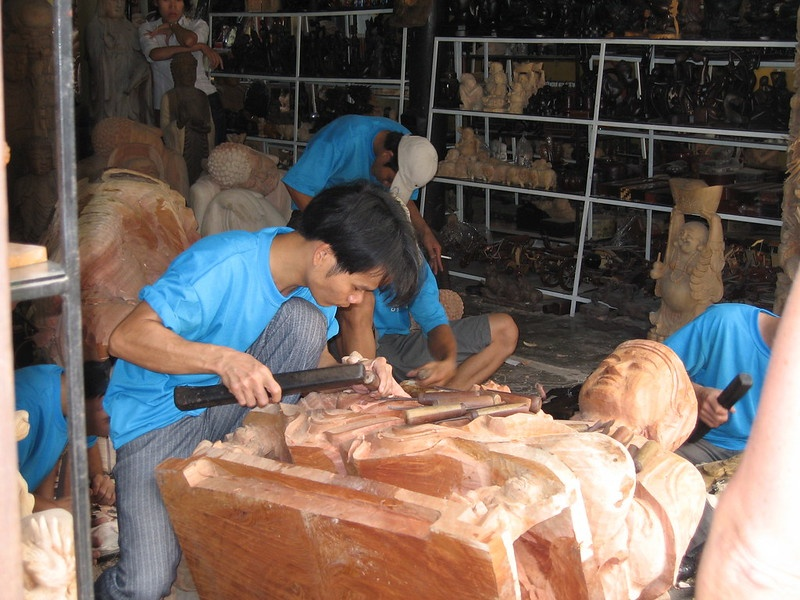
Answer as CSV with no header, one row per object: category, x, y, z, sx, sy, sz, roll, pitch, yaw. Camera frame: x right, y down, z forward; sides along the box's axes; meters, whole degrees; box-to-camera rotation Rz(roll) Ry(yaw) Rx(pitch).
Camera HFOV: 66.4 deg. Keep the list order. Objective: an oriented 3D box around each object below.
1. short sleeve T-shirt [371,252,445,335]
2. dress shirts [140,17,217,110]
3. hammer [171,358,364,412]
short sleeve T-shirt,0.001,-0.016,3.563,0.370,0.472,0.336,-2,4,41
dress shirts,-2.354,-2.530,6.670,0.718,1.104,0.679,-15,14,-17
hammer,-0.482,0.306,2.158,0.646,0.126,0.186,-5,4,-3
